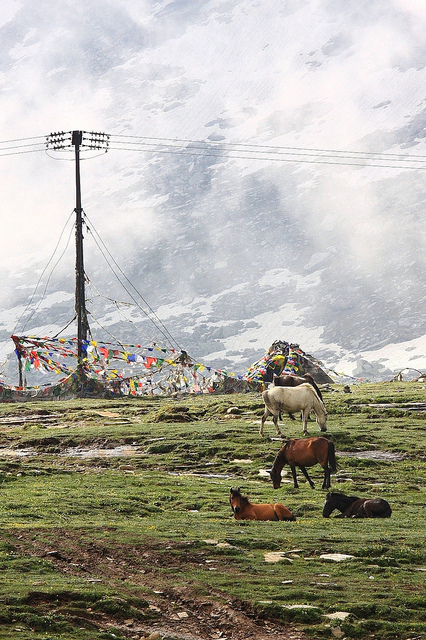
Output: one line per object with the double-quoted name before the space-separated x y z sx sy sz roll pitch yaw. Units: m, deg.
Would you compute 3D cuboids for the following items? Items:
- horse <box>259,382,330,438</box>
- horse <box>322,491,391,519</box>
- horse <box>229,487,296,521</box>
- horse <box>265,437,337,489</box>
"horse" 2.897 3.211 37.422 3.240 2.000 0.865 8 -11 -38
"horse" 3.269 4.256 23.937 1.673 0.714 0.543 0 -44 14
"horse" 1.033 4.165 23.692 1.291 0.731 0.760 -3 0 35
"horse" 2.424 3.845 27.943 2.191 1.346 0.606 -15 -18 35
